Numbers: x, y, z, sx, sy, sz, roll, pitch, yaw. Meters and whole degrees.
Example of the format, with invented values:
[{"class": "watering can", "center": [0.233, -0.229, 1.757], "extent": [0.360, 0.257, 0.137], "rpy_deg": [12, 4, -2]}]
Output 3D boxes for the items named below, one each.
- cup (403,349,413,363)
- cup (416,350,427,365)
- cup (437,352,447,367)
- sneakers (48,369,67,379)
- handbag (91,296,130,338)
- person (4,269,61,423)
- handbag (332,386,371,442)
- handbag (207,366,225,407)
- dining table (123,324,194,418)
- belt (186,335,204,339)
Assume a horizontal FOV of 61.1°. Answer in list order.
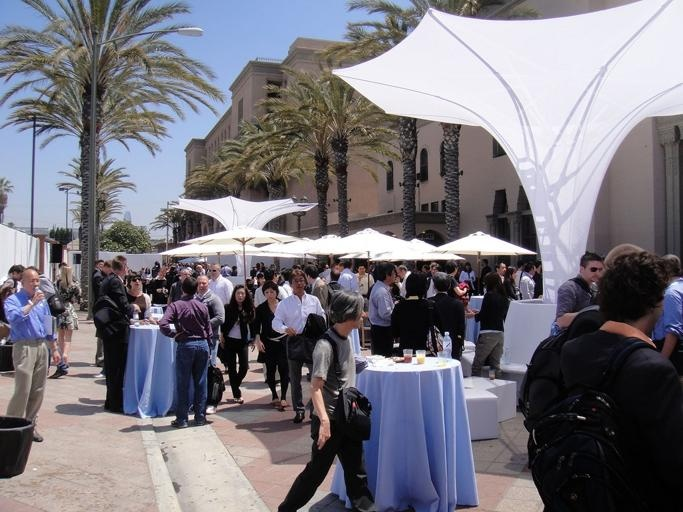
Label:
[{"class": "cup", "center": [0.740, 1.089, 6.385], "extent": [0.113, 0.139, 0.118], "rpy_deg": [0, -2, 0]}, {"class": "cup", "center": [0.848, 1.085, 6.292], "extent": [0.112, 0.138, 0.115], "rpy_deg": [-1, -4, 0]}, {"class": "cup", "center": [1.097, 1.138, 6.303], "extent": [0.093, 0.114, 0.093], "rpy_deg": [1, -1, 0]}, {"class": "sneakers", "center": [-5.708, 2.370, 11.678], "extent": [0.116, 0.155, 0.335], "rpy_deg": [-6, -10, 36]}, {"class": "handbag", "center": [-3.685, 0.972, 9.294], "extent": [0.554, 0.661, 0.234], "rpy_deg": [1, -3, -15]}, {"class": "person", "center": [-3.969, 1.116, 7.451], "extent": [0.640, 1.972, 0.506], "rpy_deg": [2, -3, -42]}, {"class": "handbag", "center": [0.074, 1.428, 5.202], "extent": [0.201, 0.360, 0.354], "rpy_deg": [-17, -31, 37]}, {"class": "handbag", "center": [-2.008, 2.064, 9.229], "extent": [0.242, 0.706, 0.454], "rpy_deg": [1, -3, -13]}, {"class": "dining table", "center": [-3.236, 1.840, 9.650], "extent": [0.931, 1.393, 1.020], "rpy_deg": [5, 0, -38]}, {"class": "belt", "center": [-2.167, 1.204, 8.617], "extent": [0.216, 0.076, 0.057], "rpy_deg": [3, -5, -43]}]
